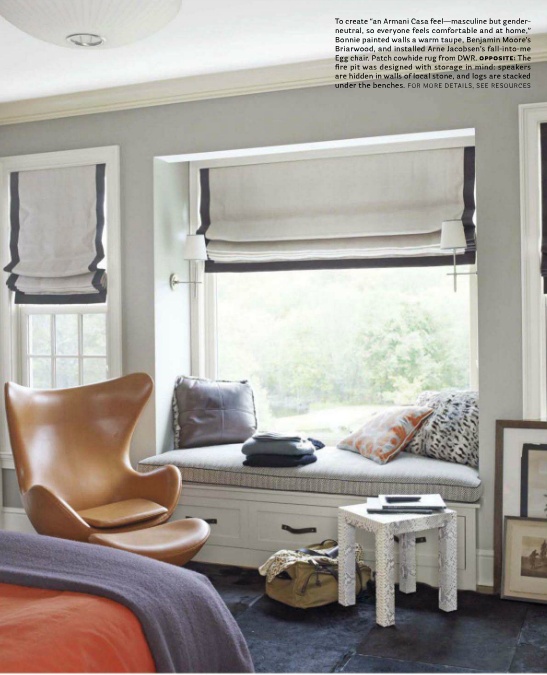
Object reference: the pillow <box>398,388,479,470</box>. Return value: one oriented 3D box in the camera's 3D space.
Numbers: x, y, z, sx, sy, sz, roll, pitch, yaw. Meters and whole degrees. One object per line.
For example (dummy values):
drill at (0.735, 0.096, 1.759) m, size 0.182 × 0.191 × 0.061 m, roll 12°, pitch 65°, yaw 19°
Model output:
pillow at (0.835, 0.434, 3.403) m, size 0.366 × 0.340 × 0.146 m, roll 3°, pitch -22°, yaw 47°

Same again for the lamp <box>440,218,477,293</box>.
lamp at (0.955, -0.428, 3.575) m, size 0.177 × 0.341 × 0.155 m, roll -5°, pitch -6°, yaw 37°

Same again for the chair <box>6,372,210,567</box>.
chair at (-0.663, 0.506, 3.094) m, size 1.003 × 0.844 × 0.768 m, roll -3°, pitch -3°, yaw 42°

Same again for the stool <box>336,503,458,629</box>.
stool at (0.519, 0.937, 2.916) m, size 0.524 × 0.365 × 0.495 m, roll -4°, pitch -8°, yaw 15°

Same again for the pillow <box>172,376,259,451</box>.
pillow at (-0.341, 0.432, 4.033) m, size 0.525 × 0.398 × 0.180 m, roll 3°, pitch -12°, yaw -29°

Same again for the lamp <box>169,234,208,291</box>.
lamp at (-0.507, -0.457, 4.175) m, size 0.219 × 0.335 × 0.366 m, roll -1°, pitch 1°, yaw 3°

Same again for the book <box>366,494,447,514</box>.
book at (0.544, 0.692, 2.891) m, size 0.314 × 0.045 × 0.173 m, roll -1°, pitch 1°, yaw 3°

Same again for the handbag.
handbag at (0.202, 1.015, 3.010) m, size 0.358 × 0.124 × 0.263 m, roll 6°, pitch -8°, yaw -44°
